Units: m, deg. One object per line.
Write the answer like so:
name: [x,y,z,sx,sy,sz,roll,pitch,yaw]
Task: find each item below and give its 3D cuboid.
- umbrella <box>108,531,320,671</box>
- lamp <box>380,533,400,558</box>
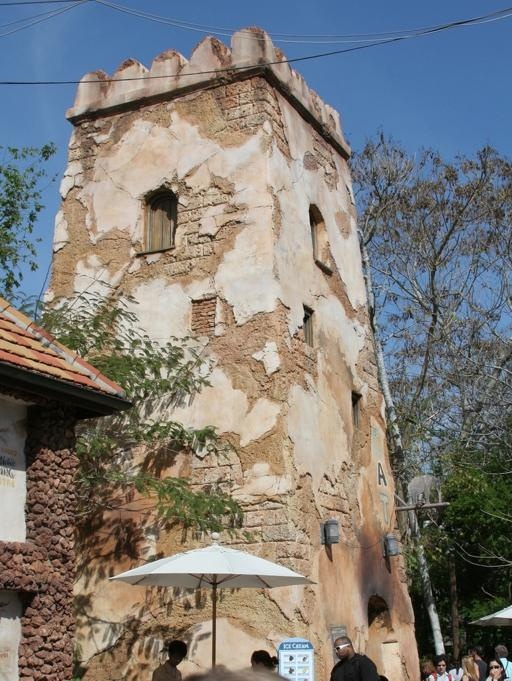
umbrella: [-0.488,2.511,8.537,1.665,0.594,1.509,-12,-23,27]
lamp: [2.687,4.058,15.696,0.432,0.467,0.447,6,-25,-21]
